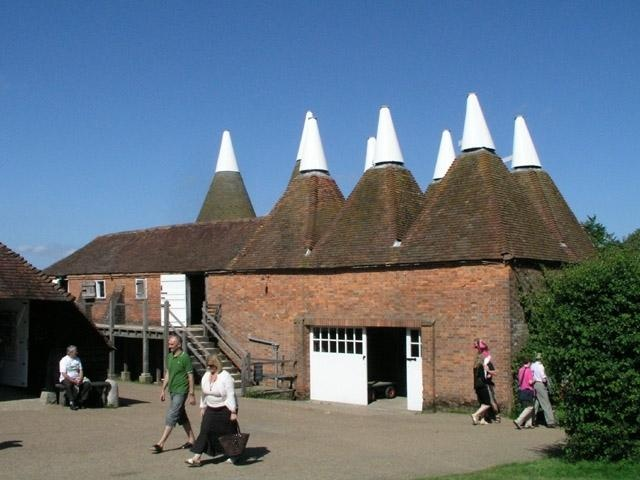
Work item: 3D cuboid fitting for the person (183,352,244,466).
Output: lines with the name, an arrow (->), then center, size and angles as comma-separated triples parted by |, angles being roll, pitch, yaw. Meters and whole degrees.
person -> -1.846, 2.992, 10.931 | 0.832, 1.922, 0.484 | 2, -4, 1

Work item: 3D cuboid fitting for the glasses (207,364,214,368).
glasses -> -1.904, 2.201, 10.879 | 0.077, 0.025, 0.082 | -2, -5, 17

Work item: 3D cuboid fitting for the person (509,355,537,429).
person -> 4.843, 3.625, 14.777 | 0.448, 1.639, 0.489 | 0, -4, 19

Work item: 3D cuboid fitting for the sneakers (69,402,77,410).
sneakers -> -5.947, 3.984, 15.046 | 0.103, 0.106, 0.237 | 4, 2, -36

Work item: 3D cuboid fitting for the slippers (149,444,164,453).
slippers -> -3.043, 3.860, 11.612 | 0.234, 0.186, 0.200 | 1, -4, 9

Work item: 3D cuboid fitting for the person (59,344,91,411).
person -> -5.956, 3.302, 14.999 | 0.578, 1.539, 0.792 | 2, -4, 1

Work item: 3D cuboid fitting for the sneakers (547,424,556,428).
sneakers -> 5.464, 4.375, 14.750 | 0.223, 0.091, 0.082 | -3, 0, 2

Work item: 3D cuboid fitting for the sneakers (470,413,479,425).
sneakers -> 3.798, 4.434, 15.318 | 0.168, 0.362, 0.129 | -16, 24, 2

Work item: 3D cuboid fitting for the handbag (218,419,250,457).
handbag -> -1.497, 3.449, 10.949 | 0.508, 0.697, 0.163 | -9, 24, -19

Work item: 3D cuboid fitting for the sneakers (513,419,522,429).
sneakers -> 4.668, 4.372, 14.807 | 0.109, 0.291, 0.102 | -20, 8, 4

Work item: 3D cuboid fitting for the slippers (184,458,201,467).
slippers -> -2.237, 3.841, 10.988 | 0.273, 0.224, 0.314 | 3, -5, -11

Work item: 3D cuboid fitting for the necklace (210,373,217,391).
necklace -> -1.873, 2.444, 10.932 | 0.149, 0.220, 0.053 | 0, -11, 17

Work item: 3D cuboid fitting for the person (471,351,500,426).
person -> 4.125, 3.650, 15.545 | 0.498, 1.788, 1.247 | -1, -5, 30

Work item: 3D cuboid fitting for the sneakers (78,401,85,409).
sneakers -> -5.866, 4.045, 15.331 | 0.181, 0.186, 0.331 | 6, -1, -26
